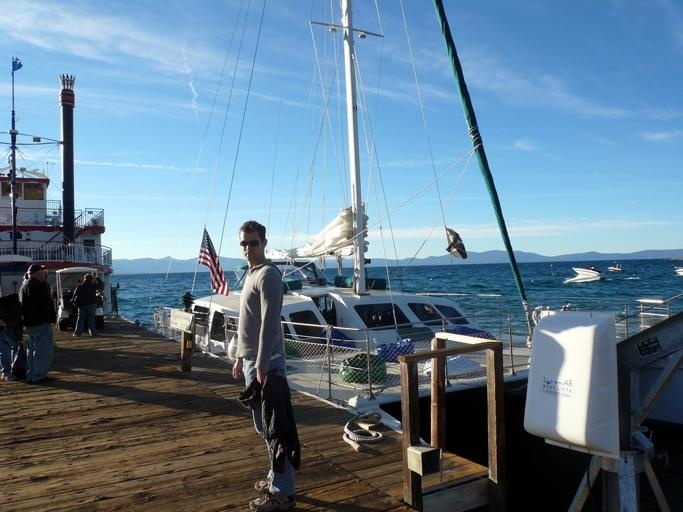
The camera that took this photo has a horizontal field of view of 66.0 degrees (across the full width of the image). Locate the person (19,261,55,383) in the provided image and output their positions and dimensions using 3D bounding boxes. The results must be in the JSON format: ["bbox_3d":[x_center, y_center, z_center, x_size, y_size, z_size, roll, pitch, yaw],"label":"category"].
[{"bbox_3d":[-5.590,1.256,9.655,0.527,2.205,0.797,0,0,-31],"label":"person"}]

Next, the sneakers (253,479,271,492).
[{"bbox_3d":[-0.847,2.467,5.599,0.148,0.064,0.189,8,-2,35],"label":"sneakers"}]

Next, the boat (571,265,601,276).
[{"bbox_3d":[43.070,2.388,92.214,1.827,1.712,5.878,6,3,-27],"label":"boat"}]

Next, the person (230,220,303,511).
[{"bbox_3d":[-0.752,1.103,5.331,0.657,2.917,0.437,0,0,1],"label":"person"}]
